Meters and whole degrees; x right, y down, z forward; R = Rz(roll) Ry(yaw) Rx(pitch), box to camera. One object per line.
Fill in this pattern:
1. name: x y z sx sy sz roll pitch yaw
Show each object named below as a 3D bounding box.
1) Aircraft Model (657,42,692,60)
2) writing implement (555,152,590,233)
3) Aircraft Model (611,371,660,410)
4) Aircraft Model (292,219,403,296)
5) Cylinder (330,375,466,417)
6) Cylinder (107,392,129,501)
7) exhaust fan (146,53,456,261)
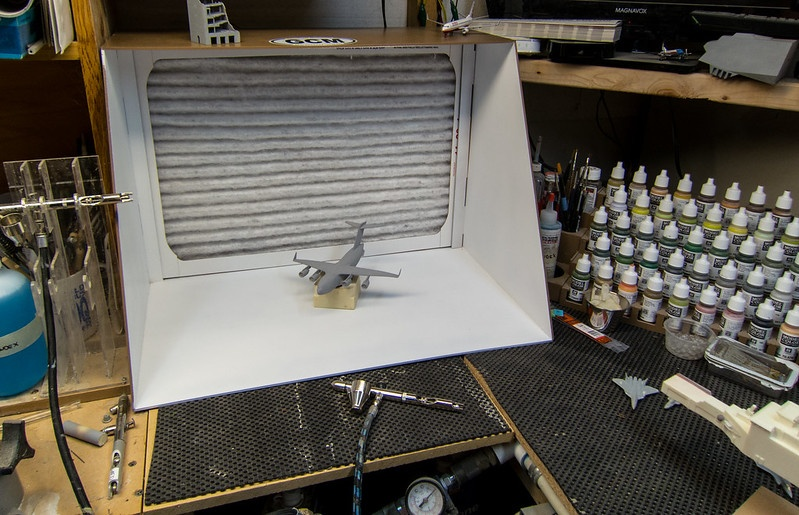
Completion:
1. Aircraft Model: 0.722 -0.538 1.377 0.073 0.046 0.150 10 22 23
2. writing implement: 0.496 -0.217 1.562 0.098 0.268 0.122 1 -14 9
3. Aircraft Model: 0.539 0.305 1.212 0.072 0.001 0.061 10 36 21
4. Aircraft Model: -0.140 0.000 1.477 0.294 0.156 0.261 -4 21 -13
5. Cylinder: -0.009 0.310 1.151 0.297 0.046 0.059 4 21 9
6. Cylinder: -0.579 0.381 1.090 0.036 0.095 0.205 -7 22 -20
7. exhaust fan: -0.240 -0.285 1.484 0.829 0.549 0.038 -5 23 -15
